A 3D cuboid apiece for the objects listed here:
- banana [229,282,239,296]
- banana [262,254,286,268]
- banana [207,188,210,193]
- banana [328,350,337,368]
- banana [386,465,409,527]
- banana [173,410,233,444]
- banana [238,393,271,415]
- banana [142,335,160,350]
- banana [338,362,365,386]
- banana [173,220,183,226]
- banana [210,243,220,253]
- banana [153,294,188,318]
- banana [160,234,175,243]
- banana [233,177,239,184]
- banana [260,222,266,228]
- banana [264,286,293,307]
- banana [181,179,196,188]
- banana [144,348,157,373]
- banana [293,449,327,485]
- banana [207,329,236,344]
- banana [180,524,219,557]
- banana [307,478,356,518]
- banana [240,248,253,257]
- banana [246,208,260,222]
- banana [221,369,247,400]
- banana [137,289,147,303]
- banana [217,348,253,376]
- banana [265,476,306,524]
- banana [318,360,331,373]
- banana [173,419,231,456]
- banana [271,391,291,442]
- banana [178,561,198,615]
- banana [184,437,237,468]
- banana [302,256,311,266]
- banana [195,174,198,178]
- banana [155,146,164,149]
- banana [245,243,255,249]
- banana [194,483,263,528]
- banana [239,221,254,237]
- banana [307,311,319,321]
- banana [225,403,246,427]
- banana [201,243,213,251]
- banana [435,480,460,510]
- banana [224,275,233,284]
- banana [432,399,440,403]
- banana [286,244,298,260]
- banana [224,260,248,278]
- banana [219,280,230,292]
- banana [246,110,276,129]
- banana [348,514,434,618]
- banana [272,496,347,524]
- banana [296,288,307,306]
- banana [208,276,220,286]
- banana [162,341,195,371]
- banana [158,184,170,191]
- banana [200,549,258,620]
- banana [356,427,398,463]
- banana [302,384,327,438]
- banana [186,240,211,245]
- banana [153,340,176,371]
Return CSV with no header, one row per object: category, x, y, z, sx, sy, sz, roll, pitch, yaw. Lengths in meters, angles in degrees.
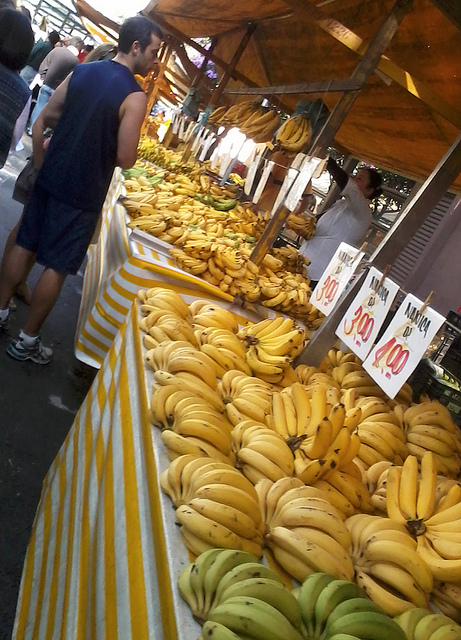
banana,0.033,-0.234,3.158,0.054,0.034,0.101,-10,61,-13
banana,0.378,-0.521,3.730,0.138,0.049,0.140,22,27,3
banana,-0.265,-1.561,5.008,0.021,0.048,0.168,31,13,-16
banana,0.629,0.230,2.597,0.041,0.048,0.150,28,49,-31
banana,0.508,0.534,1.311,0.041,0.180,0.055,-20,8,-22
banana,-0.083,0.334,1.301,0.135,0.044,0.112,37,60,-14
banana,0.089,0.329,1.601,0.081,0.027,0.082,17,15,-23
banana,-0.332,0.089,1.775,0.049,0.037,0.066,2,27,-32
banana,0.657,0.283,2.316,0.122,0.038,0.121,-18,54,-35
banana,-0.464,-0.870,3.716,0.106,0.032,0.071,15,28,24
banana,-0.122,-0.572,3.267,0.075,0.055,0.025,-93,165,-53
banana,-0.323,-0.072,2.260,0.127,0.042,0.128,13,36,-49
banana,-0.509,-0.685,3.480,0.101,0.063,0.067,35,12,6
banana,0.094,-2.424,7.223,0.129,0.038,0.129,7,37,-24
banana,0.367,-1.091,4.751,0.072,0.066,0.016,1,-11,-33
banana,0.378,-0.174,3.280,0.117,0.174,0.252,37,12,15
banana,-0.541,-1.763,5.386,0.082,0.098,0.306,-7,38,-24
banana,-0.309,0.160,1.614,0.035,0.055,0.075,-7,73,-21
banana,0.224,0.452,1.277,0.044,0.099,0.145,15,-9,-16
banana,-0.059,0.075,2.056,0.080,0.025,0.079,8,22,-32
banana,-0.074,0.459,0.897,0.092,0.029,0.032,40,22,9
banana,0.276,0.496,1.158,0.162,0.057,0.038,40,50,9
banana,0.134,-0.594,3.644,0.085,0.029,0.062,-1,26,-34
banana,0.256,-1.215,4.828,0.177,0.045,0.107,42,33,-8
banana,-0.007,0.259,1.755,0.077,0.026,0.100,19,50,-14
banana,-0.504,-0.143,2.409,0.065,0.032,0.084,19,48,-39
banana,0.014,0.195,1.913,0.163,0.054,0.044,42,-6,-26
banana,0.136,0.464,1.085,0.074,0.094,0.026,6,4,-38
banana,0.555,0.277,2.497,0.059,0.021,0.058,16,47,-39
banana,-0.082,0.362,1.249,0.128,0.041,0.109,25,20,-17
banana,0.178,0.336,1.497,0.047,0.037,0.143,26,39,-25
banana,-0.074,0.467,0.722,0.019,0.024,0.069,53,17,-46
banana,-0.062,0.370,1.168,0.168,0.056,0.039,32,-1,-12
banana,0.765,-0.601,4.257,0.073,0.087,0.245,36,12,9
banana,-0.483,-2.039,5.867,0.051,0.012,0.051,-3,55,-1
banana,-1.299,-3.233,7.773,0.138,0.033,0.131,0,29,-2
banana,0.175,-0.682,3.829,0.143,0.039,0.053,-8,83,-79
banana,0.002,0.416,0.963,0.187,0.054,0.097,17,21,-17
banana,0.152,-0.947,4.335,0.080,0.061,0.221,27,16,-51
banana,0.648,-0.025,3.321,0.030,0.112,0.040,38,4,-18
banana,0.016,0.335,1.510,0.029,0.034,0.106,-20,30,-12
banana,-0.182,-0.567,3.215,0.026,0.100,0.040,36,30,-50
banana,0.717,0.560,1.387,0.042,0.060,0.166,14,13,29
banana,-0.021,-0.311,3.153,0.056,0.055,0.066,25,39,-52
banana,1.015,0.404,2.081,0.034,0.010,0.037,7,9,23
banana,0.599,-0.675,4.140,0.103,0.053,0.198,29,24,-8
banana,0.061,-0.385,3.171,0.100,0.038,0.114,23,42,-4
banana,-0.045,-0.259,3.140,0.055,0.039,0.070,-21,53,-31
banana,0.381,-2.451,5.081,0.092,0.392,0.156,52,0,-14
banana,0.362,0.583,1.045,0.170,0.097,0.255,-12,35,-11
banana,0.200,0.476,1.098,0.124,0.048,0.145,2,-4,1
banana,0.547,-0.190,3.283,0.043,0.059,0.180,39,16,-22
banana,-0.123,-0.305,3.217,0.067,0.029,0.066,30,10,-9
banana,-0.227,0.140,1.674,0.087,0.096,0.032,17,17,30
banana,-0.777,-1.578,4.931,0.127,0.058,0.247,30,13,-19
banana,-0.002,0.463,0.739,0.022,0.082,0.065,33,14,9
banana,0.552,0.483,1.600,0.233,0.055,0.079,35,54,-23
banana,0.315,0.318,1.501,0.050,0.076,0.236,22,55,-12
banana,-0.251,-0.625,3.328,0.167,0.040,0.059,3,23,6
banana,-0.266,0.133,1.657,0.030,0.055,0.092,6,44,2
